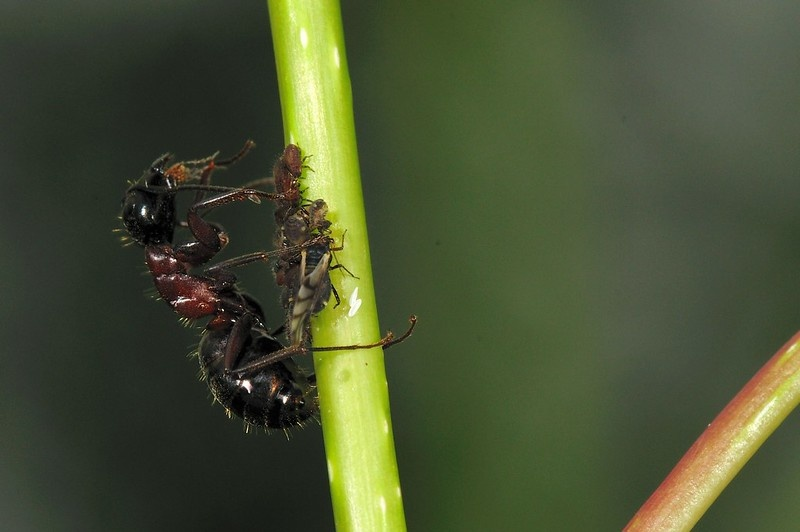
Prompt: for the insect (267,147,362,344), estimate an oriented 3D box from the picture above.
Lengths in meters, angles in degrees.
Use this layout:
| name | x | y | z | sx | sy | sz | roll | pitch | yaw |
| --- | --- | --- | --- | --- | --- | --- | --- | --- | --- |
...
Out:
| name | x | y | z | sx | sy | sz | roll | pitch | yaw |
| --- | --- | --- | --- | --- | --- | --- | --- | --- | --- |
| insect | -0.258 | -0.063 | 2.514 | 0.214 | 0.321 | 0.100 | -17 | -32 | -23 |
